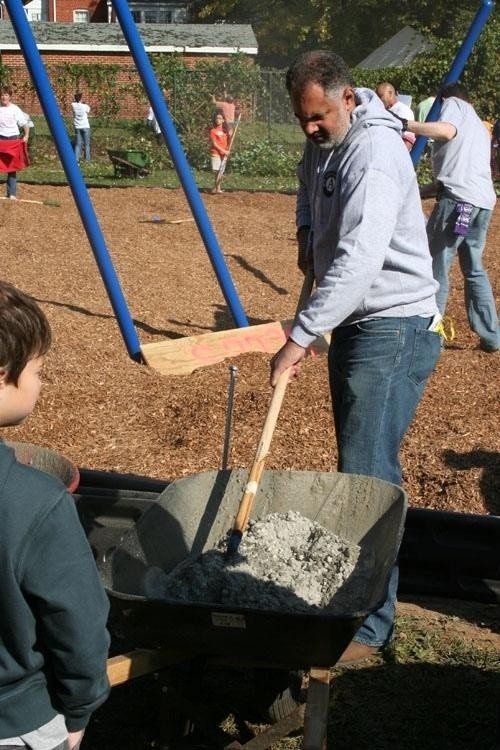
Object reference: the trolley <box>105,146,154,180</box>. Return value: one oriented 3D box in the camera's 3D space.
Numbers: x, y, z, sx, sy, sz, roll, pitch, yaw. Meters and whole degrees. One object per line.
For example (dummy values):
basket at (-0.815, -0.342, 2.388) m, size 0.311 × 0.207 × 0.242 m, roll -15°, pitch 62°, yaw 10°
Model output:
trolley at (-2.691, -4.677, 17.730) m, size 0.592 × 0.606 × 0.989 m, roll 24°, pitch 30°, yaw 39°

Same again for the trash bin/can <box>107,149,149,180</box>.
trash bin/can at (-2.667, -4.640, 17.656) m, size 0.642 × 0.404 × 0.888 m, roll 16°, pitch 18°, yaw 23°

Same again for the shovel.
shovel at (0.020, 0.164, 4.072) m, size 0.085 × 1.952 × 0.087 m, roll 29°, pitch -21°, yaw -29°
